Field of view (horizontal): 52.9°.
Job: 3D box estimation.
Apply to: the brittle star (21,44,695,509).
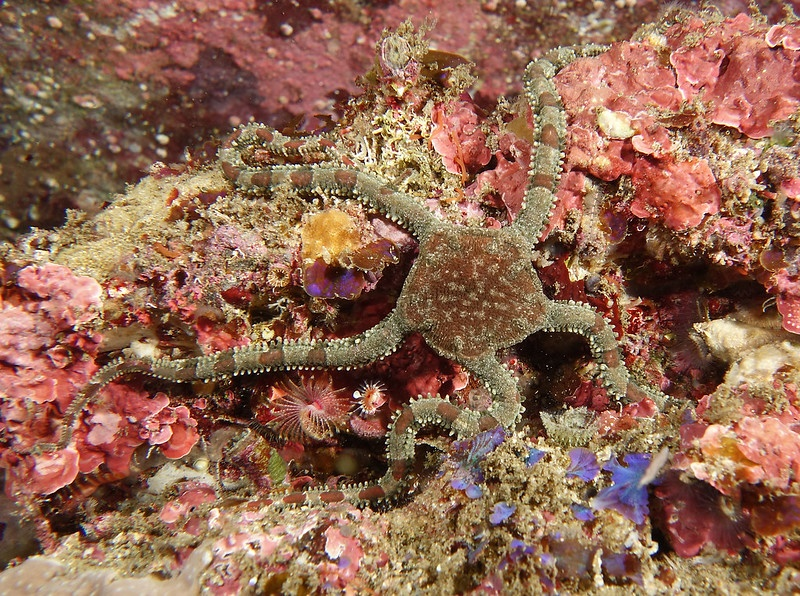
[{"bbox_3d":[0.163,0.004,7.310,4.639,0.783,3.210,-19,86,-5],"label":"brittle star"}]
